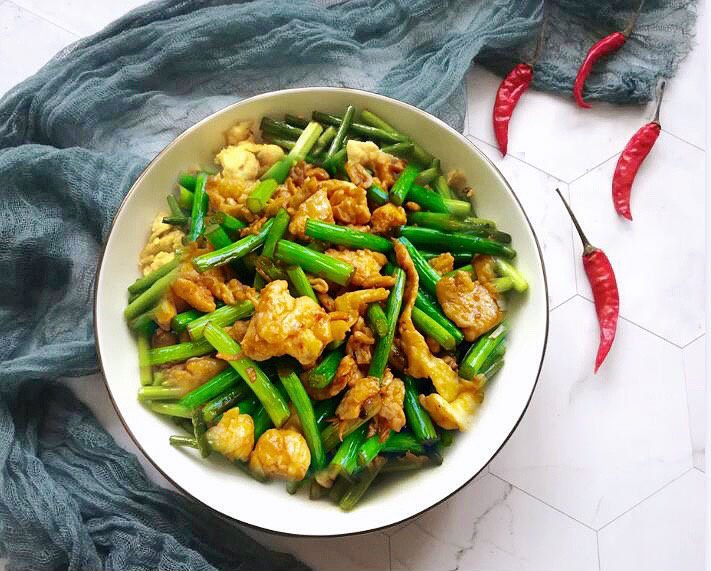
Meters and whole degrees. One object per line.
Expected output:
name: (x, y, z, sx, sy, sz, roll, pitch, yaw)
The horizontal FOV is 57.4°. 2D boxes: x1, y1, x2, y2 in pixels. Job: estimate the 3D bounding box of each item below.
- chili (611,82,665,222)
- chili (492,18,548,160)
chili: (1.286, -0.671, 2.916, 0.147, 0.089, 0.757, 16, 80, 19)
chili: (0.735, -0.951, 2.917, 0.181, 0.096, 0.731, 13, 82, 17)
